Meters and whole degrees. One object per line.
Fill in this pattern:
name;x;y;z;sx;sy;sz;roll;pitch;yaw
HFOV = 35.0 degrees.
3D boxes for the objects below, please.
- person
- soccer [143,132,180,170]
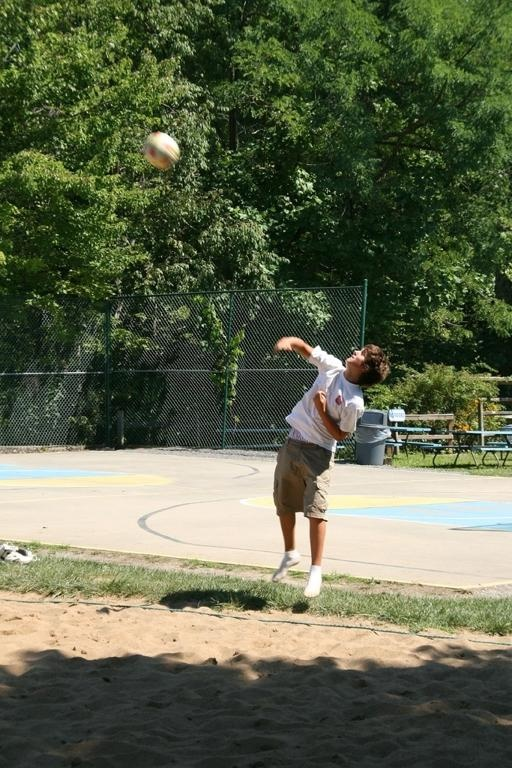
person;0.422;0.529;5.340;0.715;1.658;0.648;4;0;1
soccer;-1.243;-3.058;10.480;0.424;0.499;0.394;4;-1;-9
